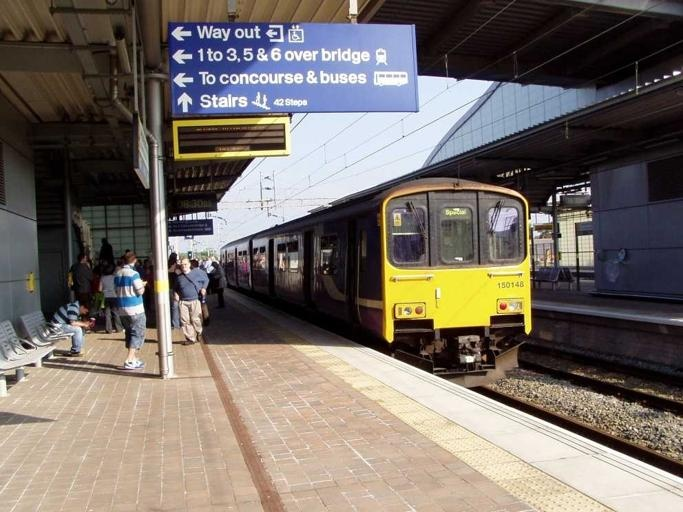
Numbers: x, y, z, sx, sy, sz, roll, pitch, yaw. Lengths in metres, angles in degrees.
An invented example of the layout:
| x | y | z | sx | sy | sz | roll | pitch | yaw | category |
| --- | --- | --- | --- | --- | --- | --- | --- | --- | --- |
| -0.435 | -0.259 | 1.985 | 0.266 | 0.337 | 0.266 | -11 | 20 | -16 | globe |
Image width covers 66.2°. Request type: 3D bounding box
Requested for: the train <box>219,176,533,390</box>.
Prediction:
| x | y | z | sx | sy | sz | roll | pitch | yaw | category |
| --- | --- | --- | --- | --- | --- | --- | --- | --- | --- |
| -0.258 | 0.537 | 16.239 | 2.875 | 3.837 | 15.184 | -2 | -1 | -18 | train |

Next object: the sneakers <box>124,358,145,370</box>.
| x | y | z | sx | sy | sz | roll | pitch | yaw | category |
| --- | --- | --- | --- | --- | --- | --- | --- | --- | --- |
| -3.463 | 1.836 | 8.876 | 0.413 | 0.185 | 0.146 | -2 | 3 | -31 | sneakers |

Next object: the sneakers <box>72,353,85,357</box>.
| x | y | z | sx | sy | sz | roll | pitch | yaw | category |
| --- | --- | --- | --- | --- | --- | --- | --- | --- | --- |
| -5.054 | 1.885 | 10.046 | 0.232 | 0.089 | 0.078 | -1 | -1 | -9 | sneakers |
